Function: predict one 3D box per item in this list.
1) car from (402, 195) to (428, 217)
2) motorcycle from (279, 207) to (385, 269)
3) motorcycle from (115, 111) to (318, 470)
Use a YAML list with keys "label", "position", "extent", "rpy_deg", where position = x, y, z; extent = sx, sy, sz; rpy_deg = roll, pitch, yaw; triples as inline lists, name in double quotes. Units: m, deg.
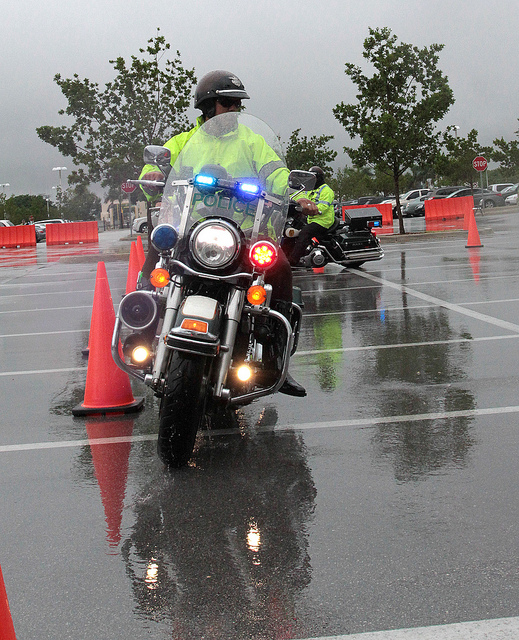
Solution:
- label: "car"
  position: [12.822, -9.354, 44.718]
  extent: [3.041, 1.507, 1.823]
  rpy_deg: [-9, 17, -20]
- label: "motorcycle"
  position: [1.447, -2.060, 13.462]
  extent: [3.365, 1.929, 1.883]
  rpy_deg: [-6, 12, -2]
- label: "motorcycle"
  position: [-0.322, -0.290, 3.576]
  extent: [1.280, 2.317, 1.229]
  rpy_deg: [-5, 4, -15]
